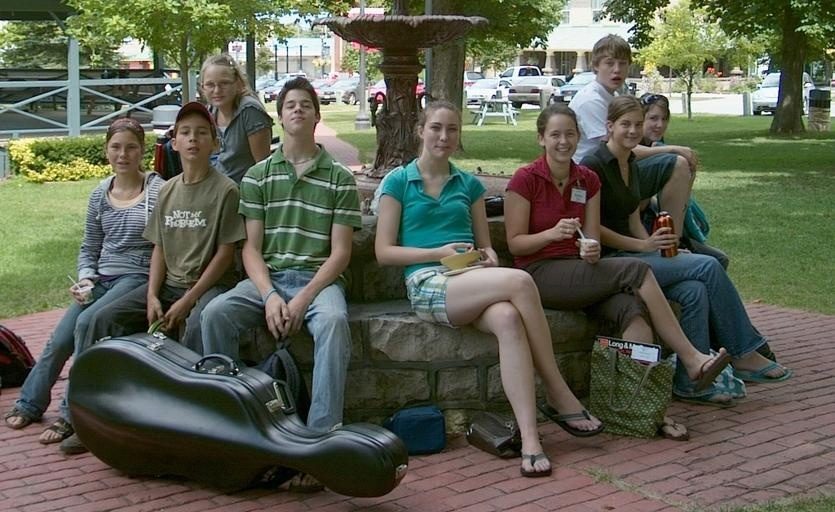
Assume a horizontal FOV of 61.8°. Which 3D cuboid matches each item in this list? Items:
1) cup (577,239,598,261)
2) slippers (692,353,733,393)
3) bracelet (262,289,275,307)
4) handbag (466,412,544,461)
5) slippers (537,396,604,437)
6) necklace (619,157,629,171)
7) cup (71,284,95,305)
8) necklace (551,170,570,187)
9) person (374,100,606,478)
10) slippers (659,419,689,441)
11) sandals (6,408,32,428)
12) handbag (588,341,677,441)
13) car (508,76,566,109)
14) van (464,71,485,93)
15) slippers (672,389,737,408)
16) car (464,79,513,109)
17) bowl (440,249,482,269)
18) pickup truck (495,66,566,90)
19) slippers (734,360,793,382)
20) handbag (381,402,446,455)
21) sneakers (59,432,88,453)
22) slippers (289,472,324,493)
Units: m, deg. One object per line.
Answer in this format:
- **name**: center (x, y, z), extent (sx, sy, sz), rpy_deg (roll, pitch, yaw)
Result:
- **cup**: center (1.301, -0.053, 5.292), extent (0.136, 0.119, 0.178), rpy_deg (-9, 11, -37)
- **slippers**: center (2.200, 0.854, 5.225), extent (0.192, 0.363, 0.209), rpy_deg (-9, 15, -34)
- **bracelet**: center (-1.065, 0.302, 5.029), extent (0.036, 0.106, 0.087), rpy_deg (25, 7, -3)
- **handbag**: center (0.656, 1.209, 5.043), extent (0.458, 0.334, 0.175), rpy_deg (-29, -25, 36)
- **slippers**: center (1.097, 1.197, 5.149), extent (0.532, 0.131, 0.204), rpy_deg (23, 35, 26)
- **necklace**: center (1.722, -0.764, 5.799), extent (0.080, 0.087, 0.127), rpy_deg (-1, 2, 3)
- **cup**: center (-2.582, 0.299, 5.420), extent (0.175, 0.122, 0.156), rpy_deg (-3, -3, -7)
- **necklace**: center (1.131, -0.606, 5.436), extent (0.141, 0.088, 0.128), rpy_deg (-2, 10, 5)
- **person**: center (0.400, 0.119, 5.194), extent (1.560, 2.526, 0.754), rpy_deg (10, 16, 39)
- **slippers**: center (1.908, 1.283, 5.168), extent (0.124, 0.059, 0.215), rpy_deg (-6, 7, -28)
- **sandals**: center (-3.110, 1.262, 5.426), extent (0.193, 0.134, 0.116), rpy_deg (-1, 12, -3)
- **handbag**: center (1.592, 1.013, 5.181), extent (0.697, 0.643, 0.372), rpy_deg (11, 13, 25)
- **car**: center (6.347, -8.710, 36.378), extent (2.053, 1.239, 4.116), rpy_deg (3, 14, 22)
- **van**: center (3.984, -11.738, 46.410), extent (2.074, 1.285, 4.133), rpy_deg (0, 17, 2)
- **slippers**: center (2.338, 1.159, 5.673), extent (0.428, 0.098, 0.144), rpy_deg (-1, 4, 20)
- **car**: center (3.495, -8.350, 35.149), extent (2.068, 1.150, 3.787), rpy_deg (1, 10, 22)
- **bowl**: center (0.323, 0.034, 5.139), extent (0.280, 0.156, 0.213), rpy_deg (0, 11, 2)
- **pickup truck**: center (6.861, -11.622, 43.125), extent (3.560, 2.315, 6.247), rpy_deg (0, 16, -1)
- **slippers**: center (2.920, 0.995, 5.869), extent (0.456, 0.120, 0.234), rpy_deg (-3, 6, 11)
- **handbag**: center (0.013, 1.306, 5.263), extent (0.401, 0.313, 0.492), rpy_deg (0, -5, -7)
- **sneakers**: center (-2.496, 1.378, 5.138), extent (0.290, 0.104, 0.146), rpy_deg (5, -3, -31)
- **slippers**: center (-0.726, 1.502, 4.609), extent (0.219, 0.083, 0.168), rpy_deg (-3, -1, 45)
